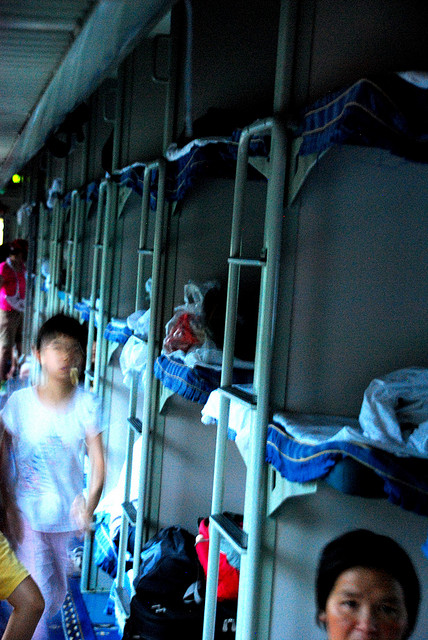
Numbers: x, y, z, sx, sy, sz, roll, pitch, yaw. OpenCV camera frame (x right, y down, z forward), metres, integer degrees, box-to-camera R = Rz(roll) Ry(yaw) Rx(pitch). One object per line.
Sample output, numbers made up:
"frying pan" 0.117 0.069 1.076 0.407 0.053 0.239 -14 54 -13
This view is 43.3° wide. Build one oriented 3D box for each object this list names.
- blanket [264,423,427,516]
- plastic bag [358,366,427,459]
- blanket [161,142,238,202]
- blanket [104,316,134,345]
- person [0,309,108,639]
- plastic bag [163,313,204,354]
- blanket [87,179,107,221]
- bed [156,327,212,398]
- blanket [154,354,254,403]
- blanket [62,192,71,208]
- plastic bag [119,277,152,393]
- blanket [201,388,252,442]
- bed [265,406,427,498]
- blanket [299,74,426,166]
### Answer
"blanket" 0.356 0.430 1.637 0.230 0.167 0.586 13 -8 -39
"plastic bag" 0.538 0.279 1.598 0.235 0.197 0.095 14 -27 23
"blanket" -0.090 -0.802 2.911 0.274 0.121 0.400 -7 6 -25
"blanket" -0.845 0.082 4.780 0.240 0.175 0.332 20 5 -9
"person" -0.759 0.700 2.415 0.412 1.021 0.533 6 -6 17
"plastic bag" -0.175 0.073 3.089 0.223 0.087 0.268 20 17 -38
"blanket" -1.272 -1.285 5.993 0.130 0.523 0.292 2 24 -27
"bed" -0.169 0.235 2.958 0.178 0.348 0.535 10 -6 -18
"blanket" -0.022 0.279 3.067 0.543 0.128 0.530 3 5 -28
"blanket" -2.104 -1.715 7.712 0.202 0.261 0.093 2 7 7
"plastic bag" -0.523 0.113 4.051 0.296 0.891 0.373 2 5 -20
"blanket" 0.085 0.377 2.374 0.263 0.214 0.081 31 47 29
"bed" 0.402 0.396 1.695 0.319 0.230 0.546 9 -6 -15
"blanket" 0.442 -0.591 1.603 0.293 0.139 0.286 -1 1 -25
